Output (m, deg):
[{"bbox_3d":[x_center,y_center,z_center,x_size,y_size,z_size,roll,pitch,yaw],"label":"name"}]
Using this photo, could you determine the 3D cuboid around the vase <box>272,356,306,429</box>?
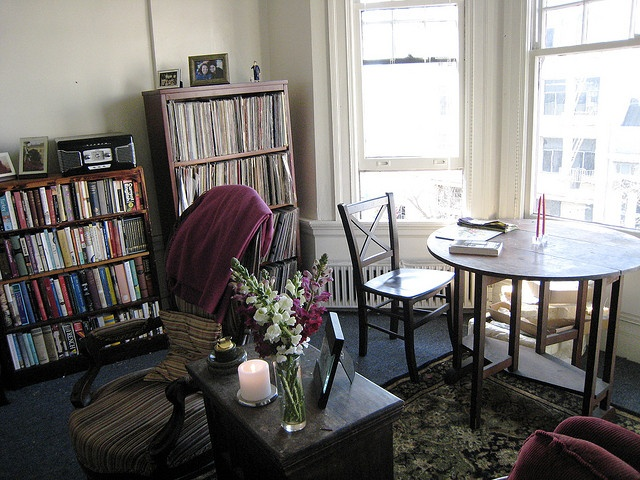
[{"bbox_3d":[-0.101,0.498,1.600,0.094,0.259,0.170,-6,17,-6],"label":"vase"}]

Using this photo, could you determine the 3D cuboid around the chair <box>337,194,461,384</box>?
[{"bbox_3d":[0.547,0.279,3.158,0.738,1.107,0.786,-1,12,14],"label":"chair"}]

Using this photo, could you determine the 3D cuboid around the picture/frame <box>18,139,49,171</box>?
[{"bbox_3d":[-1.929,-0.570,3.134,0.193,0.288,0.021,-4,-1,-20],"label":"picture/frame"}]

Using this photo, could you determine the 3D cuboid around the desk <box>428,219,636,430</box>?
[{"bbox_3d":[1.281,0.440,2.899,1.030,0.906,1.165,6,19,21],"label":"desk"}]

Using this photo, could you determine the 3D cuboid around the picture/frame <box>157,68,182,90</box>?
[{"bbox_3d":[-1.098,-1.196,3.450,0.216,0.124,0.071,2,18,21],"label":"picture/frame"}]

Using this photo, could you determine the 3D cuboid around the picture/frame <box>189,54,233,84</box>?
[{"bbox_3d":[-0.810,-1.252,3.408,0.306,0.256,0.032,1,7,-1],"label":"picture/frame"}]

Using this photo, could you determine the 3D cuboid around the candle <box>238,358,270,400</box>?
[{"bbox_3d":[-0.242,0.521,1.721,0.111,0.122,0.111,-13,16,-36],"label":"candle"}]

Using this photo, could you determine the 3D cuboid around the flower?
[{"bbox_3d":[-0.109,0.232,1.714,0.322,0.428,0.374,-5,-2,16],"label":"flower"}]

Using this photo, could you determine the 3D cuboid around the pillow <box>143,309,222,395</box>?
[{"bbox_3d":[-0.616,0.533,2.420,0.268,0.400,0.538,-22,-15,-2],"label":"pillow"}]
